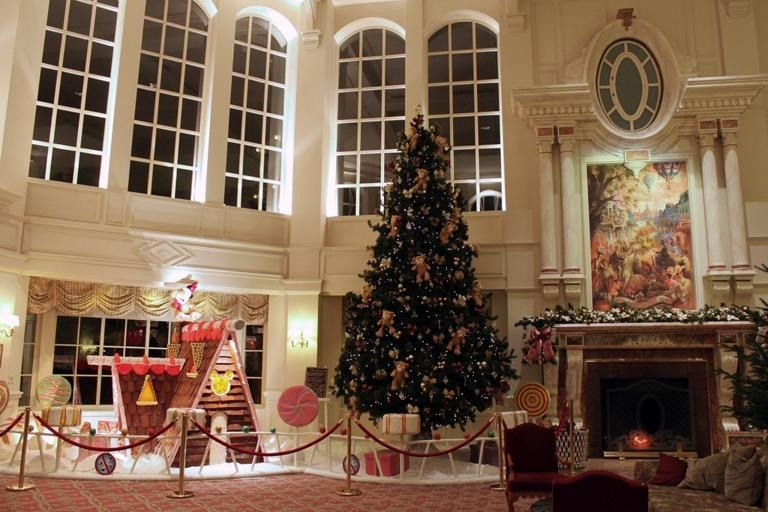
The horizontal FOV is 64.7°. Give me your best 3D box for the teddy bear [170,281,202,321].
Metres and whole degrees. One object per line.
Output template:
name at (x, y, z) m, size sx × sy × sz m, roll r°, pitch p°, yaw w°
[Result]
teddy bear at (-4.591, 1.038, 13.940) m, size 0.642 × 0.913 × 1.060 m, roll 2°, pitch -10°, yaw -19°
